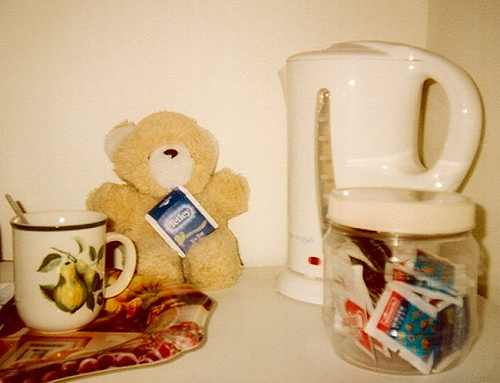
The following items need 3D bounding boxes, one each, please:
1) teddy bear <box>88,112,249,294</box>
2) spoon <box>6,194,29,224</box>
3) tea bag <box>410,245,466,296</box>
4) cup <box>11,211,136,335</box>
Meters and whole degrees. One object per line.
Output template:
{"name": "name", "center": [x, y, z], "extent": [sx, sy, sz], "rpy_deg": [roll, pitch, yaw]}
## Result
{"name": "teddy bear", "center": [-0.152, 0.017, 0.764], "extent": [0.290, 0.321, 0.211], "rpy_deg": [0, 16, -7]}
{"name": "spoon", "center": [-0.397, 0.027, 0.702], "extent": [0.012, 0.003, 0.079], "rpy_deg": [-18, 49, -40]}
{"name": "tea bag", "center": [0.235, 0.104, 0.522], "extent": [0.084, 0.017, 0.055], "rpy_deg": [0, 56, 43]}
{"name": "cup", "center": [-0.255, 0.120, 0.627], "extent": [0.180, 0.173, 0.116], "rpy_deg": [-3, 8, -37]}
